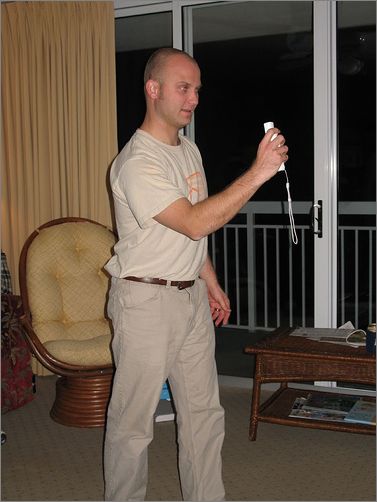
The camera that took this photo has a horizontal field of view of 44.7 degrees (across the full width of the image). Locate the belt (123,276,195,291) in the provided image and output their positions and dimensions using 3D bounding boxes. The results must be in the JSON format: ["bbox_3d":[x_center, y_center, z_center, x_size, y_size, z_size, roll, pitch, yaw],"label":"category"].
[{"bbox_3d":[-0.081,0.085,1.221,0.181,0.039,0.050,-1,7,-10],"label":"belt"}]
